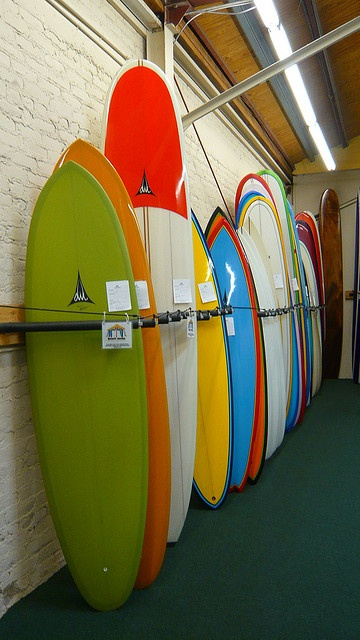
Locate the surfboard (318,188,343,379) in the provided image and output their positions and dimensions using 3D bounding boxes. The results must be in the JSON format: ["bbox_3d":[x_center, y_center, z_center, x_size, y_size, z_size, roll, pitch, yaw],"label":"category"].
[{"bbox_3d":[1.836,-0.504,4.945,0.241,2.549,0.235,-1,0,0],"label":"surfboard"}]

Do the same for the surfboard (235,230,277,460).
[{"bbox_3d":[0.556,-0.039,2.884,0.116,1.672,0.240,-6,-4,0],"label":"surfboard"}]

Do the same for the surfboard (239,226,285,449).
[{"bbox_3d":[0.550,-0.054,2.574,0.222,1.646,0.142,-4,-14,8],"label":"surfboard"}]

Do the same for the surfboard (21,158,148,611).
[{"bbox_3d":[-0.288,0.177,1.238,0.372,1.336,0.180,0,1,26],"label":"surfboard"}]

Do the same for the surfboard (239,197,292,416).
[{"bbox_3d":[0.635,-0.404,2.909,0.261,2.108,0.181,-7,-7,38],"label":"surfboard"}]

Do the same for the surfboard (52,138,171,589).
[{"bbox_3d":[-0.221,-0.080,1.508,0.282,1.894,0.148,0,-5,-44],"label":"surfboard"}]

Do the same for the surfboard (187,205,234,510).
[{"bbox_3d":[0.139,0.184,2.012,0.178,1.347,0.119,-3,-11,-12],"label":"surfboard"}]

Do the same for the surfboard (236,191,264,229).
[{"bbox_3d":[0.496,-0.794,2.865,0.162,0.309,0.056,4,-2,-27],"label":"surfboard"}]
